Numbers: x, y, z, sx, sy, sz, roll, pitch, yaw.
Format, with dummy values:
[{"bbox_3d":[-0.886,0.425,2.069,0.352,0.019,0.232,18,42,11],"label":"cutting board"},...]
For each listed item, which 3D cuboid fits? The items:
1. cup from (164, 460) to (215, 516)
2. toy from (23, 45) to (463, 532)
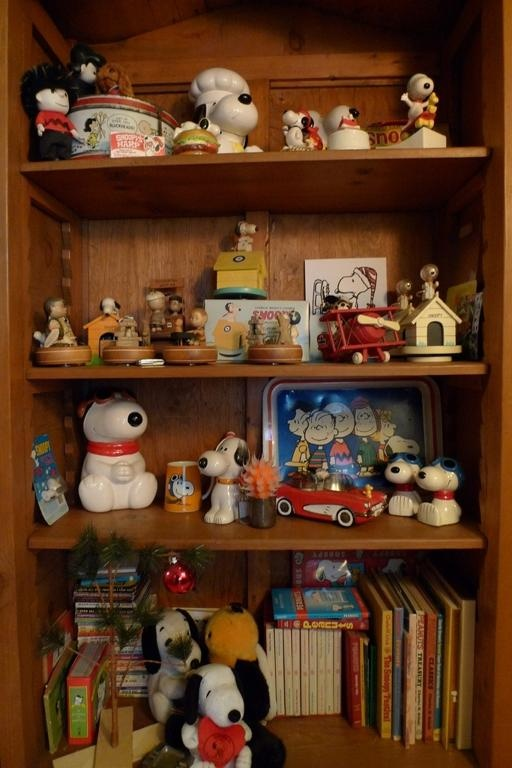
[{"bbox_3d":[-0.164,0.243,1.517,0.112,0.110,0.091,2,-5,6],"label":"cup"},{"bbox_3d":[-0.003,-0.226,1.462,1.099,0.970,0.354,-1,-2,3],"label":"toy"}]
